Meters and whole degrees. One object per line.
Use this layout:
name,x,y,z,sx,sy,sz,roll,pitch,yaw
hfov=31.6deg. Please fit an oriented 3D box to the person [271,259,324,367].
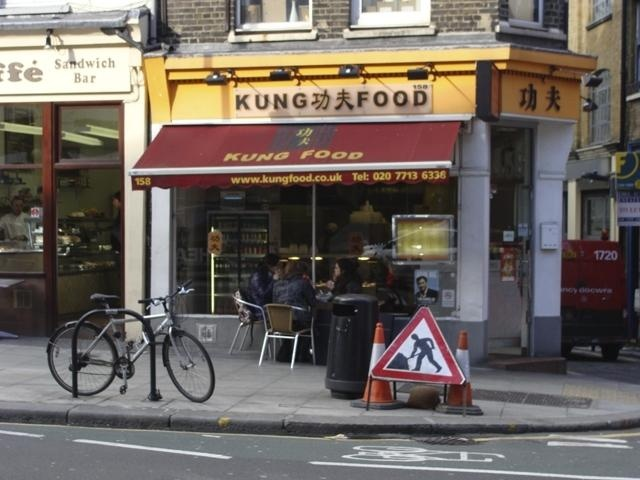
person,-0.419,1.223,19.460,0.813,1.566,0.758,2,2,-4

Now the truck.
truck,5.216,1.002,21.519,1.274,1.987,0.224,2,-3,-6

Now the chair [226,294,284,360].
chair,-1.207,1.514,19.972,0.747,1.057,0.835,4,2,35

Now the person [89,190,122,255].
person,-3.901,-0.327,21.109,0.481,1.070,0.411,1,5,7

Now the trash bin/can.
trash bin/can,0.575,1.597,17.316,0.846,1.454,0.878,2,-1,16

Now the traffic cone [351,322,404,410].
traffic cone,0.903,1.768,16.590,0.532,1.371,0.600,0,-1,0

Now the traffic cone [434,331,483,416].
traffic cone,2.095,1.929,16.536,0.640,1.190,0.755,1,-3,16

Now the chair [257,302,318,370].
chair,-0.584,1.609,19.281,0.883,1.036,0.906,1,-1,42
